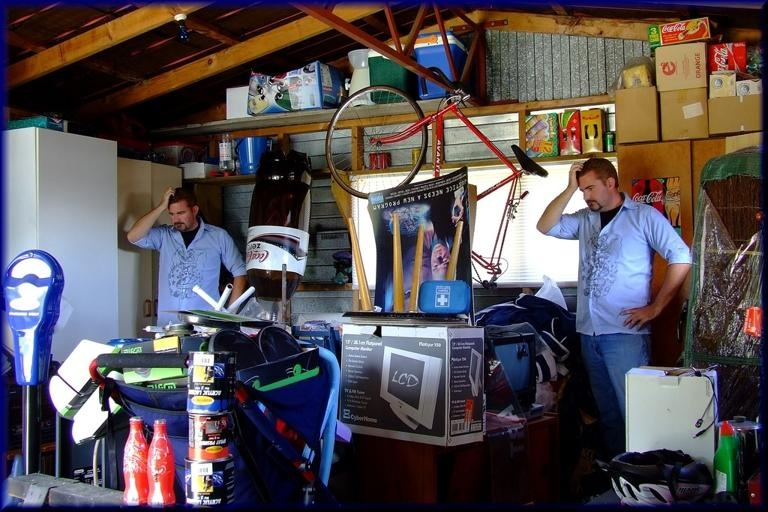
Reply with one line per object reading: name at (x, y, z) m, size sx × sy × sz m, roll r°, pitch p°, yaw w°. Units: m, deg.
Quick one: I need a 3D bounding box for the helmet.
helmet at (1.298, 1.032, 3.341) m, size 0.331 × 0.151 × 0.275 m, roll -4°, pitch -2°, yaw 15°

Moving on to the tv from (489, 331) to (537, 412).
tv at (0.844, 0.747, 4.665) m, size 0.311 × 0.502 × 0.893 m, roll -2°, pitch -2°, yaw 10°

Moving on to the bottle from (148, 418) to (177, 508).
bottle at (-0.943, 0.881, 3.067) m, size 0.125 × 0.350 × 0.141 m, roll -2°, pitch -2°, yaw 13°

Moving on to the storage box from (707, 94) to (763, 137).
storage box at (2.811, -1.108, 5.669) m, size 0.516 × 0.338 × 0.279 m, roll 0°, pitch 1°, yaw 26°

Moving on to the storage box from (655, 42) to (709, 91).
storage box at (2.418, -1.531, 5.849) m, size 0.434 × 0.385 × 0.148 m, roll -4°, pitch 2°, yaw -2°

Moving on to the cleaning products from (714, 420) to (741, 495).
cleaning products at (1.591, 0.941, 3.303) m, size 0.100 × 0.326 × 0.159 m, roll -2°, pitch -2°, yaw 20°

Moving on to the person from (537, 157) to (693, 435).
person at (1.707, 0.270, 5.219) m, size 1.033 × 1.977 × 0.383 m, roll -2°, pitch -2°, yaw 22°

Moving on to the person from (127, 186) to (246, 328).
person at (-1.783, -0.058, 6.443) m, size 1.043 × 1.077 × 0.418 m, roll -1°, pitch -2°, yaw -11°

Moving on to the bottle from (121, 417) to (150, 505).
bottle at (-1.083, 0.886, 3.088) m, size 0.101 × 0.370 × 0.180 m, roll 0°, pitch -2°, yaw -22°
